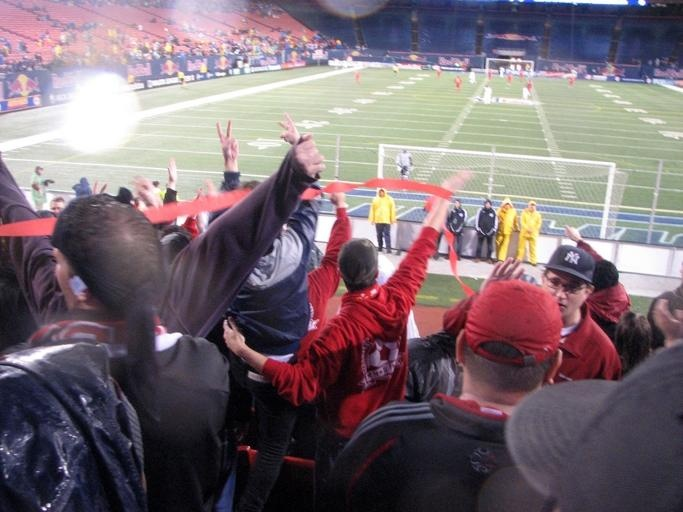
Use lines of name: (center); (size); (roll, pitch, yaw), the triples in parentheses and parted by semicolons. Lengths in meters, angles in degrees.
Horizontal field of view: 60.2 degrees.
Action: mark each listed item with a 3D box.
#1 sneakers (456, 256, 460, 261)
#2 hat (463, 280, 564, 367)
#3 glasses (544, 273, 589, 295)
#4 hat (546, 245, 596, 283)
sneakers: (2.453, 0.054, 12.322); (0.096, 0.068, 0.129); (-10, -22, 11)
hat: (0.607, 0.231, 2.070); (0.337, 0.256, 0.207); (4, 16, 8)
glasses: (1.513, 0.202, 3.952); (0.169, 0.085, 0.128); (18, -6, -10)
hat: (1.588, 0.045, 4.036); (0.240, 0.150, 0.320); (22, 2, 36)
